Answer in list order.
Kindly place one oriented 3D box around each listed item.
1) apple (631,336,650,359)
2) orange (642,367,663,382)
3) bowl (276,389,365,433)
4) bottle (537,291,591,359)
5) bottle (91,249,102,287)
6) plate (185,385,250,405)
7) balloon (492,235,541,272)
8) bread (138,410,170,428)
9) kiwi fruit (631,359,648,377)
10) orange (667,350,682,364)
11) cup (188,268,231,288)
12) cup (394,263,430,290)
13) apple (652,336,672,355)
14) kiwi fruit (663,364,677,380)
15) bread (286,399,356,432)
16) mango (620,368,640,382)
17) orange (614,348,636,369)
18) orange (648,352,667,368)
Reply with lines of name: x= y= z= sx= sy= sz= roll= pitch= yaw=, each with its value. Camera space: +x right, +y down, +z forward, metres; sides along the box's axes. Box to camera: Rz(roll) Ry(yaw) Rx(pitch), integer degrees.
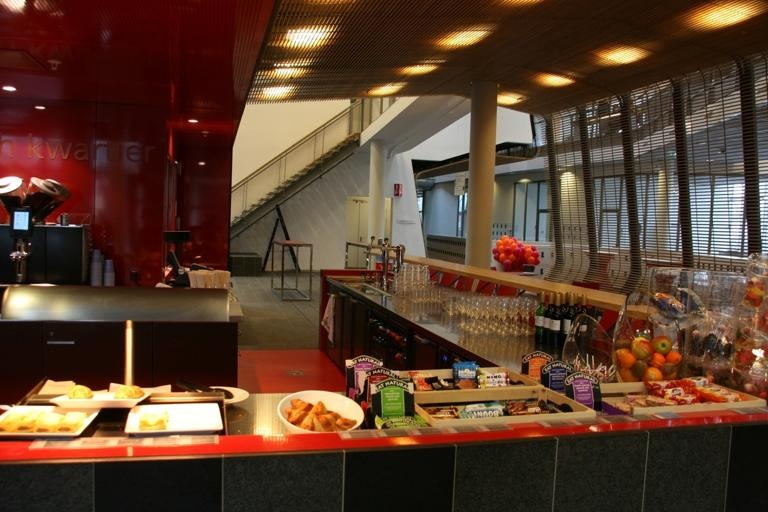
apple: x=1.253 y=0.444 z=2.739 sx=0.094 sy=0.085 sz=0.076 roll=-9 pitch=16 yaw=-38
orange: x=1.284 y=0.566 z=2.694 sx=0.071 sy=0.065 sz=0.067 roll=1 pitch=-7 yaw=-7
bowl: x=-0.306 y=0.677 z=2.412 sx=0.307 sy=0.102 sz=0.300 roll=10 pitch=-7 yaw=1
bottle: x=1.120 y=0.423 z=3.679 sx=0.266 sy=0.348 sz=0.303 roll=-6 pitch=14 yaw=-27
bottle: x=-3.145 y=0.112 z=6.199 sx=0.142 sy=0.361 sz=0.260 roll=-5 pitch=14 yaw=-23
plate: x=-0.767 y=0.684 z=2.783 sx=0.152 sy=0.024 sz=0.147 roll=0 pitch=8 yaw=-23
balloon: x=2.279 y=-0.029 z=9.723 sx=0.693 sy=0.628 sz=0.734 roll=-3 pitch=13 yaw=-17
bread: x=-0.892 y=0.628 z=2.198 sx=0.058 sy=0.024 sz=0.073 roll=0 pitch=14 yaw=-4
kiwi fruit: x=1.225 y=0.536 z=2.703 sx=0.060 sy=0.073 sz=0.046 roll=-1 pitch=1 yaw=45
orange: x=1.411 y=0.494 z=2.742 sx=0.061 sy=0.056 sz=0.058 roll=17 pitch=-29 yaw=-3
cup: x=-1.539 y=0.201 z=4.983 sx=0.296 sy=0.201 sz=0.327 roll=0 pitch=0 yaw=-7
cup: x=0.266 y=0.191 z=5.293 sx=0.267 sy=0.272 sz=0.258 roll=1 pitch=5 yaw=0
apple: x=1.356 y=0.433 z=2.751 sx=0.084 sy=0.081 sz=0.102 roll=0 pitch=-14 yaw=-3
kiwi fruit: x=1.374 y=0.560 z=2.713 sx=0.072 sy=0.074 sz=0.069 roll=-12 pitch=-12 yaw=43
bread: x=-0.289 y=0.661 z=2.333 sx=0.160 sy=0.063 sz=0.161 roll=13 pitch=-3 yaw=-42
mango: x=1.184 y=0.577 z=2.717 sx=0.068 sy=0.062 sz=0.062 roll=1 pitch=13 yaw=3
orange: x=1.176 y=0.488 z=2.776 sx=0.087 sy=0.078 sz=0.085 roll=25 pitch=29 yaw=21
orange: x=1.327 y=0.504 z=2.732 sx=0.081 sy=0.061 sz=0.043 roll=1 pitch=13 yaw=3
